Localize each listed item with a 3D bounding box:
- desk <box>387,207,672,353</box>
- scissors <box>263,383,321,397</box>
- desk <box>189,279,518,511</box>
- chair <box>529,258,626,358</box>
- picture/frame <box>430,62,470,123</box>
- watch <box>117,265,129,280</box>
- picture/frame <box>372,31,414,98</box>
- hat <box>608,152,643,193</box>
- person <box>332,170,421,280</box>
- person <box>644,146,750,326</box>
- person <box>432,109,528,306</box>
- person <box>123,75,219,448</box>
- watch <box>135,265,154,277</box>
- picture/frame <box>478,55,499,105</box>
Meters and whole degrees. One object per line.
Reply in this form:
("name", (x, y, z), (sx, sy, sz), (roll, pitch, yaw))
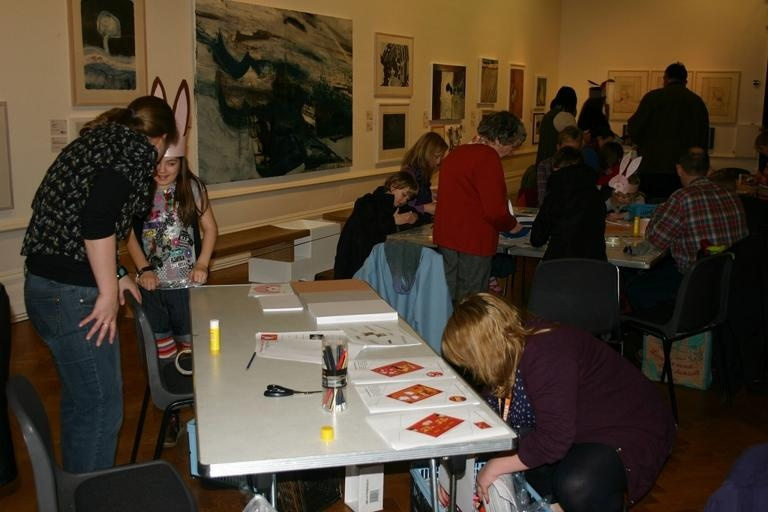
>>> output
("desk", (1.450, -0.030, 4.913), (1.471, 0.946, 1.500), (9, 15, 43))
("scissors", (-0.374, 0.547, 2.344), (0.183, 0.022, 0.080), (2, 6, -5))
("desk", (-0.280, 0.158, 2.206), (0.771, 0.365, 1.544), (0, 18, -14))
("chair", (1.303, 0.358, 4.375), (0.609, 0.880, 0.690), (3, 3, 14))
("picture/frame", (1.050, -2.713, 9.625), (0.104, 1.044, 1.047), (8, 13, 39))
("watch", (-1.311, 0.077, 2.922), (0.054, 0.072, 0.036), (10, -36, -35))
("picture/frame", (0.138, -2.752, 8.469), (0.145, 0.874, 0.854), (9, 18, 33))
("hat", (2.352, -0.833, 5.751), (0.239, 0.403, 0.597), (5, 16, 21))
("person", (-0.058, -0.258, 4.728), (0.380, 0.745, 0.920), (6, 16, 24))
("person", (2.536, -0.001, 4.688), (0.689, 1.640, 0.570), (-9, 22, 3))
("person", (0.693, -0.341, 4.429), (0.647, 1.456, 0.451), (2, 15, 11))
("person", (-1.358, 0.176, 3.687), (0.393, 1.501, 0.373), (-7, 18, -8))
("watch", (-1.413, 0.092, 3.479), (0.108, 0.072, 0.112), (11, -19, -41))
("picture/frame", (1.879, -3.218, 10.612), (0.090, 0.972, 0.902), (2, 8, 28))
